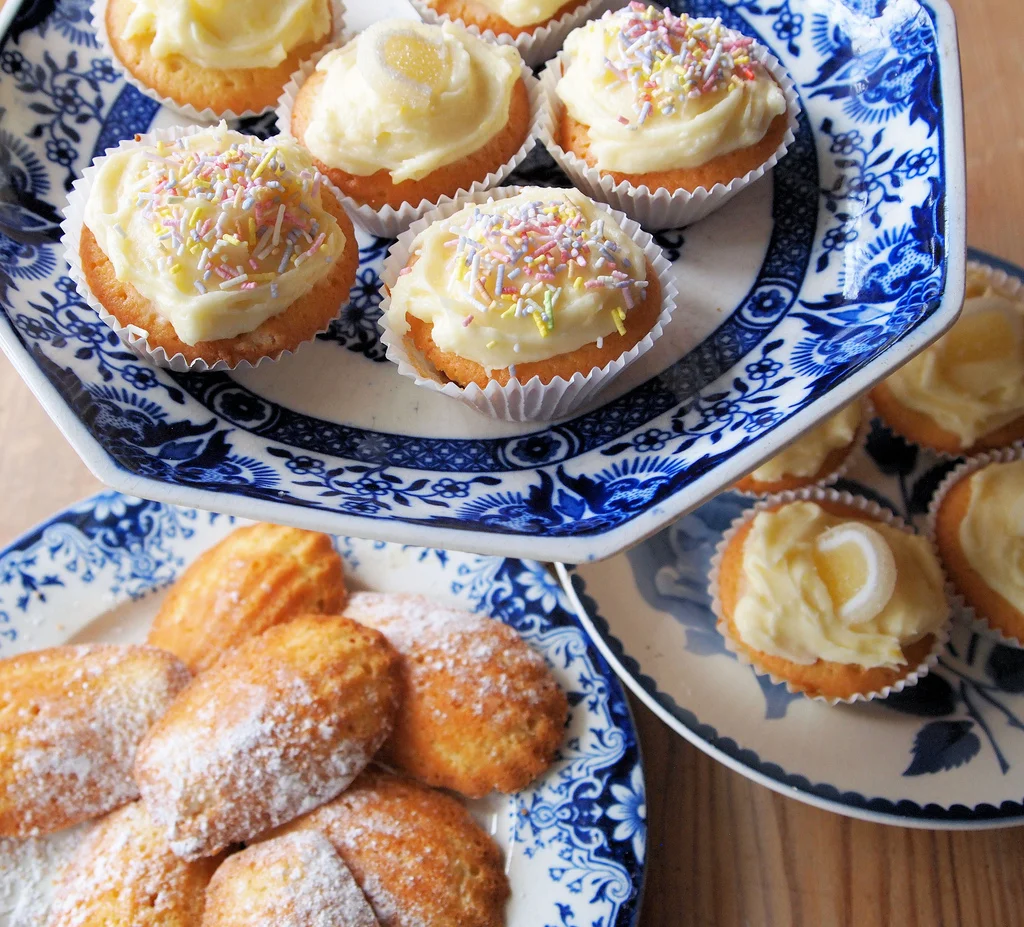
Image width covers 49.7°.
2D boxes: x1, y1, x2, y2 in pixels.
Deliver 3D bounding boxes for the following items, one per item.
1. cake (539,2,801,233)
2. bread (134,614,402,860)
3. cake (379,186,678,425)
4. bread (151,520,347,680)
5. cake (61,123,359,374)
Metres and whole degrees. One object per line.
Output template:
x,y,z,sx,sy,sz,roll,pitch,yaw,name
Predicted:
0.183,-0.411,1.253,0.245,0.184,0.306,-7,76,4,cake
-0.291,0.317,1.329,0.307,0.109,0.222,-31,70,-7,bread
0.020,-0.181,1.253,0.254,0.153,0.306,-4,63,-2,cake
-0.342,0.172,1.537,0.236,0.150,0.177,-38,83,-1,bread
-0.368,-0.250,1.282,0.343,0.139,0.282,17,72,9,cake
